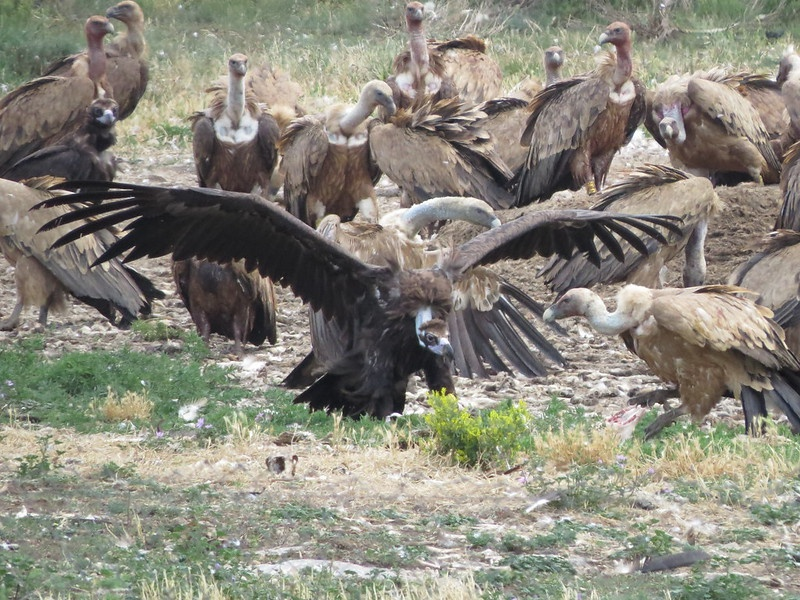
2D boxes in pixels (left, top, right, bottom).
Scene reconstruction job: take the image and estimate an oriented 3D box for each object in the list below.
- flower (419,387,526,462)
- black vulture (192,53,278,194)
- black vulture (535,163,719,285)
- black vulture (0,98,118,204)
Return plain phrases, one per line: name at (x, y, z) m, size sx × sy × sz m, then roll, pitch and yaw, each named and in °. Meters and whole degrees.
flower at (0.632, 0.955, 12.178) m, size 0.543 × 0.413 × 0.602 m, roll 3°, pitch -1°, yaw -32°
black vulture at (-1.596, -1.718, 16.045) m, size 0.851 × 1.398 × 0.490 m, roll -1°, pitch 13°, yaw -10°
black vulture at (2.127, -0.653, 14.645) m, size 1.958 × 1.120 × 0.960 m, roll 0°, pitch -12°, yaw -30°
black vulture at (-3.646, -1.494, 16.505) m, size 1.573 × 1.137 × 0.813 m, roll 0°, pitch -10°, yaw -5°
